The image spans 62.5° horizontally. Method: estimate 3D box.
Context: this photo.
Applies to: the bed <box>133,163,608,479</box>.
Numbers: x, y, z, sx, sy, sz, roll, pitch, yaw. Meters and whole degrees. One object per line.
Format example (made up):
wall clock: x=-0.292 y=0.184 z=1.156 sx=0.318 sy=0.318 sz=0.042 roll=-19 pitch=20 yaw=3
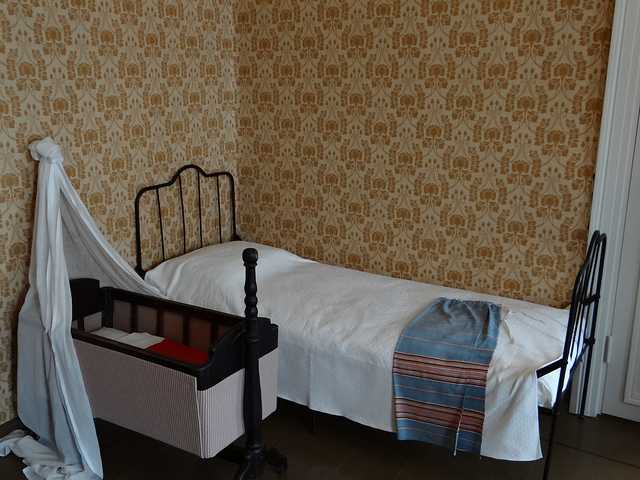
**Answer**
bed: x=0.216 y=0.311 z=3.299 sx=2.704 sy=1.448 sz=1.377 roll=9 pitch=20 yaw=33
